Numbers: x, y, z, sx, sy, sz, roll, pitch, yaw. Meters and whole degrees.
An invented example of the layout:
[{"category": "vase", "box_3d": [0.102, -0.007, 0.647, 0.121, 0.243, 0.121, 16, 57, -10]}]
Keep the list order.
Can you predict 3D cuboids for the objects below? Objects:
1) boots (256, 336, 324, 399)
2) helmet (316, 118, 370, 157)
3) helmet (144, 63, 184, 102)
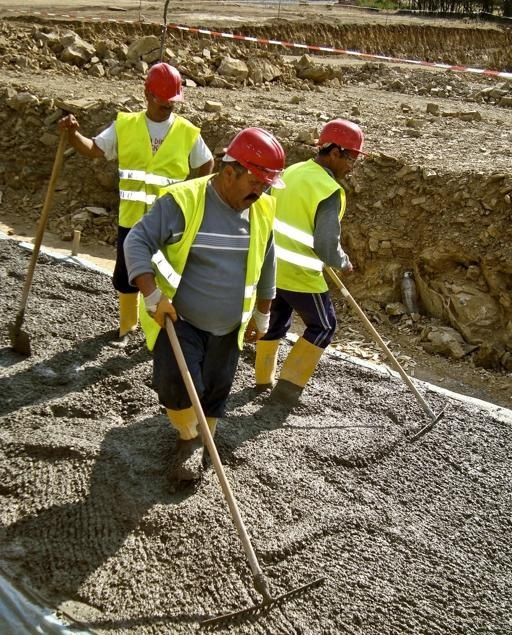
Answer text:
[{"category": "boots", "box_3d": [0.230, 0.355, 4.334, 0.352, 0.349, 0.307, 24, 17, -8]}, {"category": "helmet", "box_3d": [0.510, -1.081, 3.867, 0.295, 0.139, 0.191, 14, 34, 13]}, {"category": "helmet", "box_3d": [-0.589, -1.458, 4.054, 0.222, 0.159, 0.270, -19, 61, -37]}]
